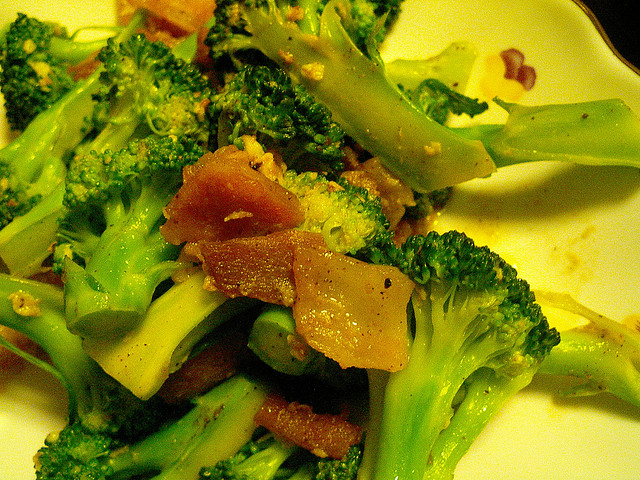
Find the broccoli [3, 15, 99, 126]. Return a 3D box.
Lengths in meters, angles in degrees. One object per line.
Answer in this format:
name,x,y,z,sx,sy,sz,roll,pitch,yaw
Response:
broccoli,-1.061,-0.716,2.463,0.433,0.227,0.390,-15,93,-18

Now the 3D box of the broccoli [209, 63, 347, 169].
broccoli,-0.131,-0.430,2.185,0.402,0.376,0.299,33,81,20
